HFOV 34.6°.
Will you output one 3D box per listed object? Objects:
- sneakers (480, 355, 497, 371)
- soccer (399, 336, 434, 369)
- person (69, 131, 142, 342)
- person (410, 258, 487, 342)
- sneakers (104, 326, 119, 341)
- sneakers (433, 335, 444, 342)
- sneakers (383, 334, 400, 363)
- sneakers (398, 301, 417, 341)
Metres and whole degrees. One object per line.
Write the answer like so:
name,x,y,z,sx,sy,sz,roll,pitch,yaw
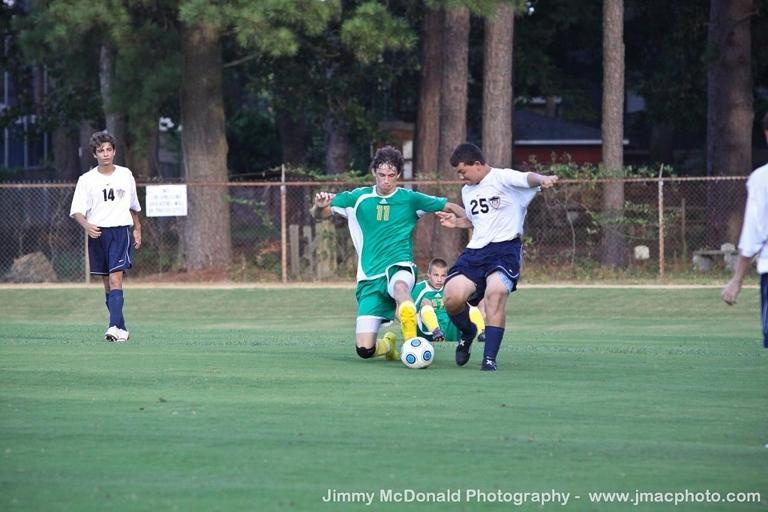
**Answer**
sneakers,1.416,1.478,16.683,0.203,0.188,0.189,0,2,4
soccer,0.439,1.351,16.964,0.435,0.422,0.222,0,2,0
person,-4.193,-0.278,18.663,0.948,3.142,0.358,0,2,-14
person,0.999,0.711,18.387,1.213,1.255,1.250,4,-5,6
sneakers,-4.123,1.198,18.594,0.230,0.210,0.129,0,2,6
sneakers,0.745,1.154,16.950,0.086,0.098,0.214,1,-8,-9
sneakers,0.135,1.372,17.638,0.160,0.206,0.440,-10,-41,9
sneakers,0.317,0.912,17.120,0.253,0.553,0.284,0,2,1
